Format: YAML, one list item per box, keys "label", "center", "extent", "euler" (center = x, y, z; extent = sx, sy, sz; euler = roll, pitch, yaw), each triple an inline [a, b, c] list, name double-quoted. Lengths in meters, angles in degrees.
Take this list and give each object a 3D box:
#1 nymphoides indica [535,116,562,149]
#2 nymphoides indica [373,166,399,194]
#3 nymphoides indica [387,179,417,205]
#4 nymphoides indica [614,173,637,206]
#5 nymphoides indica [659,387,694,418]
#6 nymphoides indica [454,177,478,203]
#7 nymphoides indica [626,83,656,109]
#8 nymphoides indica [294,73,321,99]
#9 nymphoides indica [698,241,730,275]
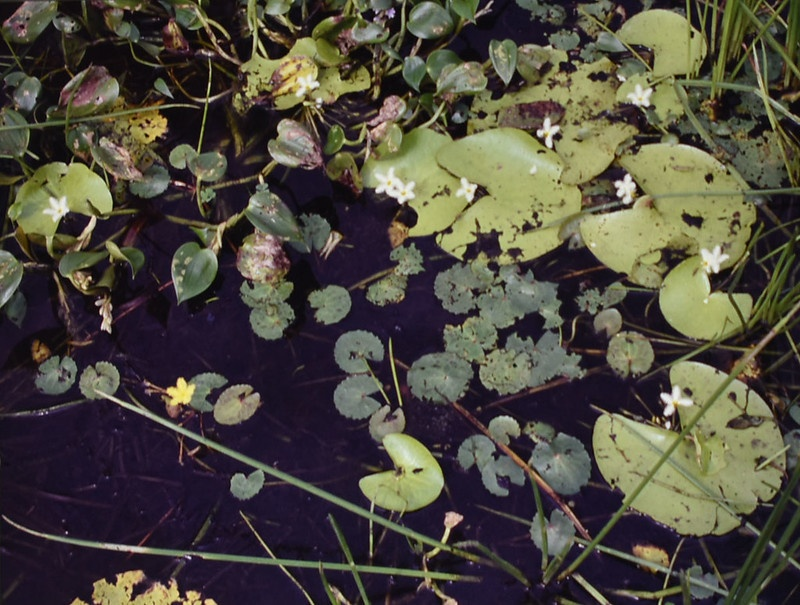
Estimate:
- label: "nymphoides indica"
  center: [0.514, -0.595, 3.121]
  extent: [0.074, 0.063, 0.095]
  euler: [25, 59, 25]
- label: "nymphoides indica"
  center: [-0.046, -0.422, 3.107]
  extent: [0.071, 0.021, 0.090]
  euler: [-8, 85, 20]
- label: "nymphoides indica"
  center: [0.006, -0.385, 3.112]
  extent: [0.097, 0.071, 0.051]
  euler: [-1, 49, 7]
- label: "nymphoides indica"
  center: [0.776, -0.390, 3.075]
  extent: [0.073, 0.032, 0.099]
  euler: [0, 84, 12]
- label: "nymphoides indica"
  center: [0.907, 0.321, 2.948]
  extent: [0.098, 0.053, 0.068]
  euler: [-13, 51, -1]
- label: "nymphoides indica"
  center: [0.227, -0.386, 3.081]
  extent: [0.065, 0.020, 0.083]
  euler: [-28, 87, 13]
- label: "nymphoides indica"
  center: [0.835, -0.726, 3.130]
  extent: [0.084, 0.061, 0.083]
  euler: [9, 54, 15]
- label: "nymphoides indica"
  center: [-0.336, -0.778, 3.198]
  extent: [0.070, 0.025, 0.087]
  euler: [13, 89, 9]
- label: "nymphoides indica"
  center: [1.056, -0.145, 3.009]
  extent: [0.100, 0.074, 0.076]
  euler: [-10, 50, 0]
